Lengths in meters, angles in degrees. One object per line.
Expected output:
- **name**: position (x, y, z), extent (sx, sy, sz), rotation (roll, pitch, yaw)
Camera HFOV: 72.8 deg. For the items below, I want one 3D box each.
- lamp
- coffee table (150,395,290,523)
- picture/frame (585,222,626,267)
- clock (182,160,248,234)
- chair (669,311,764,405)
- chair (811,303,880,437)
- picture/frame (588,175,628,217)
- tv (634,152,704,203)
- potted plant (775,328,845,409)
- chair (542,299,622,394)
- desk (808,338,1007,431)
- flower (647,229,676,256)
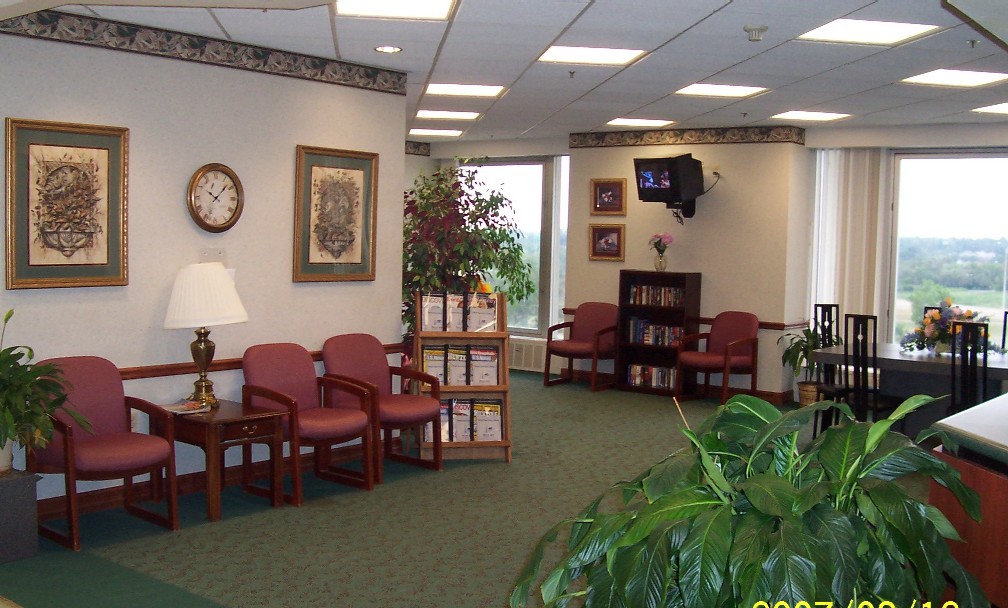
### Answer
- **lamp**: position (-2.725, 0.275, 6.161), extent (0.641, 1.318, 0.611), rotation (-3, 10, -30)
- **coffee table**: position (-2.494, 1.311, 6.155), extent (0.992, 0.939, 1.066), rotation (3, -4, -43)
- **picture/frame**: position (1.648, -0.981, 11.007), extent (0.739, 0.690, 0.055), rotation (3, 7, 23)
- **clock**: position (-2.763, -1.015, 6.426), extent (0.753, 0.758, 0.092), rotation (-5, 1, -41)
- **chair**: position (3.136, 0.794, 9.985), extent (0.891, 1.283, 1.012), rotation (0, 2, -29)
- **chair**: position (3.674, 0.765, 7.664), extent (0.854, 1.361, 0.742), rotation (4, -16, 14)
- **picture/frame**: position (1.675, -1.749, 10.934), extent (0.703, 0.653, 0.055), rotation (4, 10, 25)
- **tv**: position (2.453, -1.920, 10.216), extent (0.691, 0.637, 0.833), rotation (-16, 18, -36)
- **potted plant**: position (4.369, 0.984, 9.545), extent (0.974, 1.049, 0.940), rotation (0, 2, 40)
- **chair**: position (1.223, 0.663, 10.748), extent (0.994, 1.187, 0.943), rotation (3, 5, 44)
- **desk**: position (3.834, 0.737, 6.421), extent (1.282, 0.778, 0.707), rotation (3, 5, 42)
- **flower**: position (2.418, -0.947, 10.568), extent (0.374, 0.347, 0.361), rotation (-1, -2, 5)
